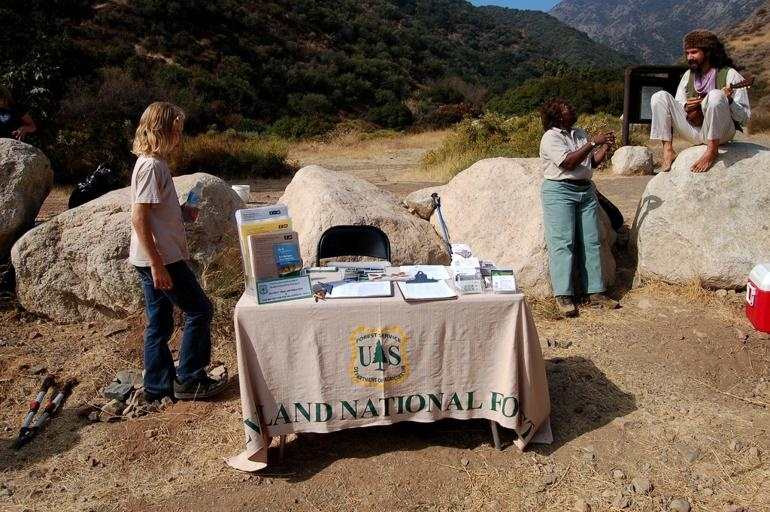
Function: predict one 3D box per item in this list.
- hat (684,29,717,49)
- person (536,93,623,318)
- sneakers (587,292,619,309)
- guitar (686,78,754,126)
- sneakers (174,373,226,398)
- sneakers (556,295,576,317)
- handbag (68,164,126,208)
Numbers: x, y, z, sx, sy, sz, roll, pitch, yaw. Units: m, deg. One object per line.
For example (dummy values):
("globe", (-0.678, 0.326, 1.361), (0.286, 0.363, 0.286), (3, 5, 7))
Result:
("hat", (3.890, -2.644, 8.003), (0.401, 0.226, 0.211), (5, 20, 26))
("person", (2.416, -0.617, 8.216), (0.843, 2.572, 0.949), (-3, 17, 3))
("sneakers", (2.745, 0.556, 8.220), (0.374, 0.202, 0.168), (2, 18, 21))
("guitar", (4.052, -1.949, 8.013), (0.122, 0.434, 0.856), (-32, -5, -27))
("sneakers", (-1.995, 1.396, 7.105), (0.552, 0.285, 0.233), (-6, 18, -15))
("sneakers", (2.286, 0.632, 8.222), (0.133, 0.159, 0.352), (-13, 5, 4))
("handbag", (-4.513, -1.048, 10.041), (0.717, 0.467, 1.196), (-12, 20, -24))
